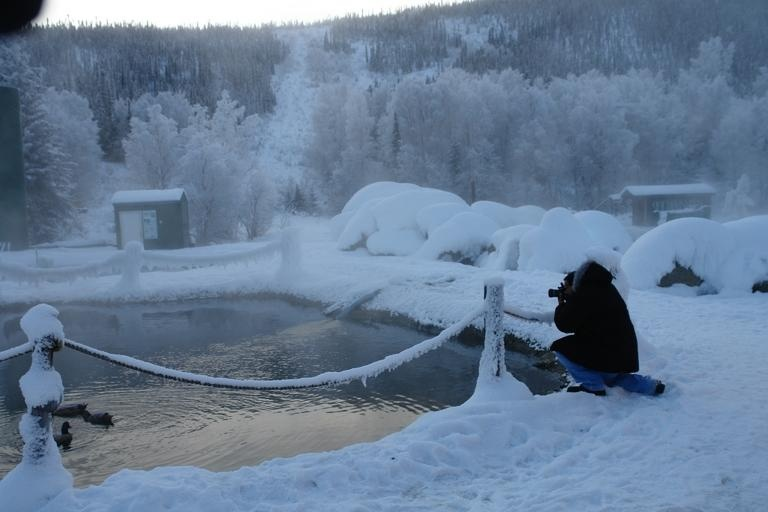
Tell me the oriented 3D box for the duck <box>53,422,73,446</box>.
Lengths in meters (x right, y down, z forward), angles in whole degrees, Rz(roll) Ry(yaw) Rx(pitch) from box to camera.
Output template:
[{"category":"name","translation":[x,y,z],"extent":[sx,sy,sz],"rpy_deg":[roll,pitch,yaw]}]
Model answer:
[{"category":"duck","translation":[-15.105,8.460,35.944],"extent":[0.813,1.158,0.555],"rpy_deg":[-2,5,-22]}]

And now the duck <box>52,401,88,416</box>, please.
[{"category":"duck","translation":[-15.027,7.400,36.630],"extent":[1.209,0.421,0.646],"rpy_deg":[1,0,-7]}]

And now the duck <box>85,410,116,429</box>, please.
[{"category":"duck","translation":[-13.577,7.892,36.562],"extent":[1.255,0.501,0.669],"rpy_deg":[12,-14,6]}]
